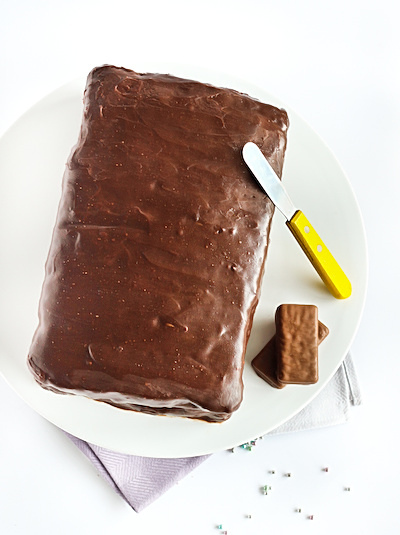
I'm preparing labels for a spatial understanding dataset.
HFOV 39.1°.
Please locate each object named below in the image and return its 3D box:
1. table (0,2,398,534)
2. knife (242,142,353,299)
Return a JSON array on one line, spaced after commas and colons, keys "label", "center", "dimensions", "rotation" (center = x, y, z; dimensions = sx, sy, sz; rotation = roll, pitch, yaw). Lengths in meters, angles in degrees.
[{"label": "table", "center": [0.284, 0.002, 2.138], "dimensions": [1.967, 0.161, 1.681], "rotation": [4, 77, -3]}, {"label": "knife", "center": [0.263, -0.112, 1.551], "dimensions": [0.085, 0.053, 0.524], "rotation": [-39, 105, -24]}]
